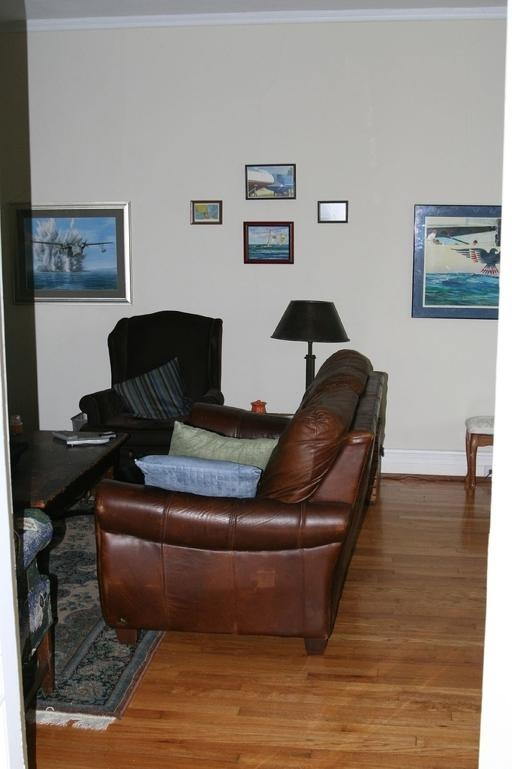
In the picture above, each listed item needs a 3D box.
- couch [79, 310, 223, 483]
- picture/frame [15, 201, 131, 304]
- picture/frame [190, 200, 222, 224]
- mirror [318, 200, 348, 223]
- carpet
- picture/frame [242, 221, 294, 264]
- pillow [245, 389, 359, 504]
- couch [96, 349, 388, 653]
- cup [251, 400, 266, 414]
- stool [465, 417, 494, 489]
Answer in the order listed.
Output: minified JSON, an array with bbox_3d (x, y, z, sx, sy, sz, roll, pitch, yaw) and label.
[{"bbox_3d":[-0.665,0.006,4.479,1.044,1.359,1.026,1,3,8],"label":"couch"},{"bbox_3d":[-1.337,-1.013,4.936,0.720,0.599,0.015,1,4,5],"label":"picture/frame"},{"bbox_3d":[-0.346,-1.242,4.792,0.169,0.137,0.013,2,5,5],"label":"picture/frame"},{"bbox_3d":[0.552,-1.218,4.687,0.152,0.112,0.007,0,4,1],"label":"mirror"},{"bbox_3d":[-0.547,0.781,2.323,0.440,0.162,0.695,0,24,0],"label":"carpet"},{"bbox_3d":[0.103,-1.027,4.773,0.298,0.255,0.022,1,13,7],"label":"picture/frame"},{"bbox_3d":[0.178,0.240,2.500,0.136,0.216,0.417,17,13,13],"label":"pillow"},{"bbox_3d":[-0.007,0.053,2.660,0.896,0.900,1.554,2,5,11],"label":"couch"},{"bbox_3d":[0.021,0.136,4.127,0.074,0.080,0.076,2,2,0],"label":"cup"},{"bbox_3d":[1.443,0.450,4.337,0.164,0.461,0.287,3,8,17],"label":"stool"}]
